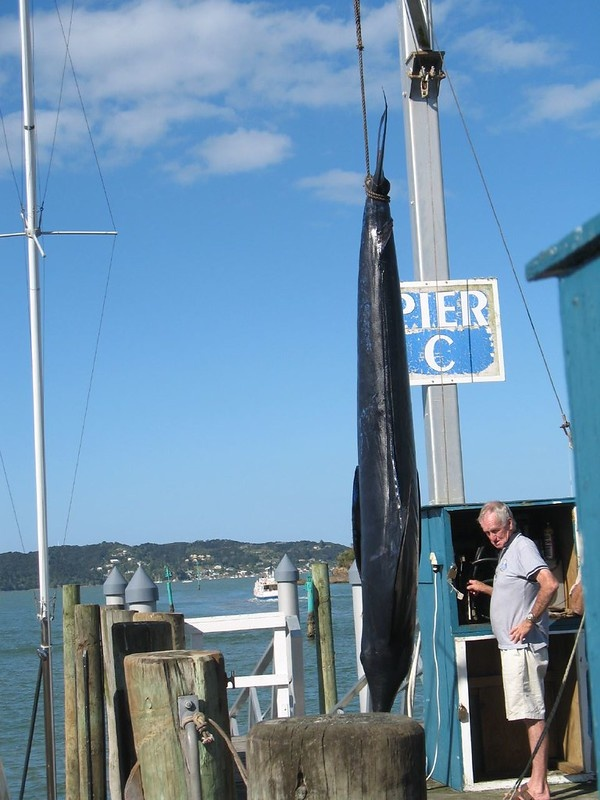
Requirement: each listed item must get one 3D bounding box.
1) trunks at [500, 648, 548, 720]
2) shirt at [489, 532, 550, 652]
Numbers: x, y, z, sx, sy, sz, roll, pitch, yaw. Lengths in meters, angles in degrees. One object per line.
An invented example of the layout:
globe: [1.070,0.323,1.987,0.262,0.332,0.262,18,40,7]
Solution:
trunks: [1.225,1.495,5.895,0.225,0.416,0.295,-1,6,25]
shirt: [1.185,1.030,5.971,0.269,0.663,0.525,0,-9,-16]
